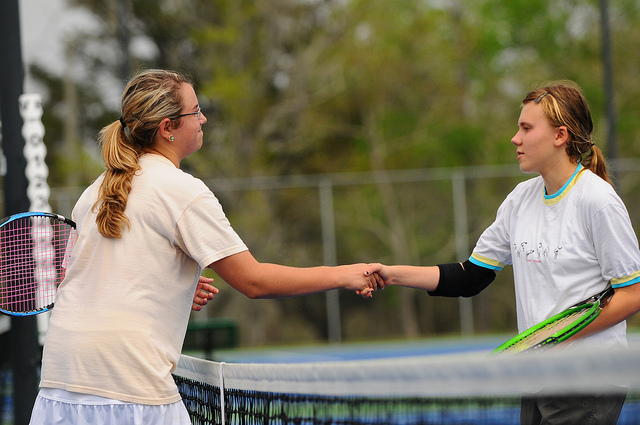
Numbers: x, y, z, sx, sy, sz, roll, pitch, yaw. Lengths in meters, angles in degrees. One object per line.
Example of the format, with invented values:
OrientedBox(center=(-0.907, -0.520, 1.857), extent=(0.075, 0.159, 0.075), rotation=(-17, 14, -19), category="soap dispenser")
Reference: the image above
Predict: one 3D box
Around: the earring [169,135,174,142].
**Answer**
OrientedBox(center=(-1.399, -0.705, 11.679), extent=(0.038, 0.041, 0.034), rotation=(-2, -3, -27), category="earring")

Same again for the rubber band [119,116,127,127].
OrientedBox(center=(-1.867, -0.859, 11.728), extent=(0.061, 0.089, 0.088), rotation=(-2, -10, -21), category="rubber band")
